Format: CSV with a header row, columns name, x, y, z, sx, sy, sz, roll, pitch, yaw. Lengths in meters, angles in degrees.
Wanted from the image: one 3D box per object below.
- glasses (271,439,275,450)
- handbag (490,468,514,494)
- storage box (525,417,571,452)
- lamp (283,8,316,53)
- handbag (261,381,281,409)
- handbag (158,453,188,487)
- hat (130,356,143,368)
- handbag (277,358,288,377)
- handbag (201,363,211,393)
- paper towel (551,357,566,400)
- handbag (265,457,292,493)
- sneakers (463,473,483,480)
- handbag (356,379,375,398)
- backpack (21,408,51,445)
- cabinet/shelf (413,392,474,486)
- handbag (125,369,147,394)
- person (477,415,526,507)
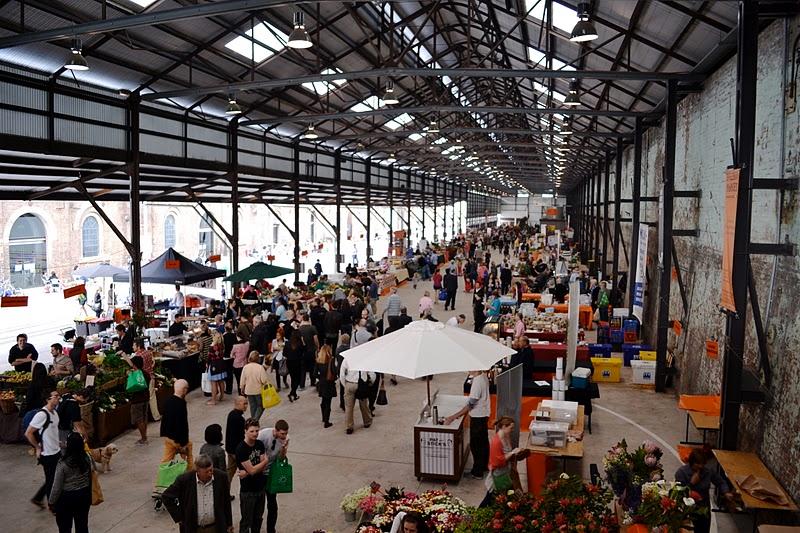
name,x,y,z,sx,sy,sz,roll,pitch,yaw
glasses,-2.052,2.884,9.412,0.042,0.141,0.055,5,-7,-8
handbag,1.672,3.525,9.577,0.442,0.405,0.176,-3,5,-5
storage box,2.818,3.136,10.866,0.613,0.306,0.477,1,-3,12
lamp,-2.140,-5.032,12.195,0.439,0.899,0.871,-2,0,-11
handbag,-2.711,2.681,12.161,0.319,0.525,0.391,-2,0,-14
handbag,-3.984,3.618,10.095,0.646,0.594,0.301,-2,0,34
hat,-6.038,2.182,13.353,0.263,0.267,0.452,-2,0,-25
handbag,-3.115,2.684,15.617,0.226,0.507,0.585,-2,0,-23
handbag,-4.972,2.920,15.020,0.206,0.731,0.513,-2,0,-21
paper towel,3.490,2.461,12.698,0.210,0.939,1.601,-2,0,17
handbag,-1.972,3.414,9.519,0.407,0.580,0.216,-2,0,-20
sneakers,1.460,4.101,11.533,0.354,0.166,0.134,5,0,14
handbag,-0.786,2.806,13.230,0.439,0.427,0.739,1,4,-6
backpack,-6.445,2.802,10.293,0.280,0.632,0.847,-2,0,-44
cabinet/shelf,0.966,2.850,11.926,1.116,1.545,2.963,0,4,10
handbag,-5.984,2.605,13.152,0.437,0.480,0.231,-9,-29,0
person,1.761,3.349,9.963,0.724,1.736,0.720,-15,26,-18
